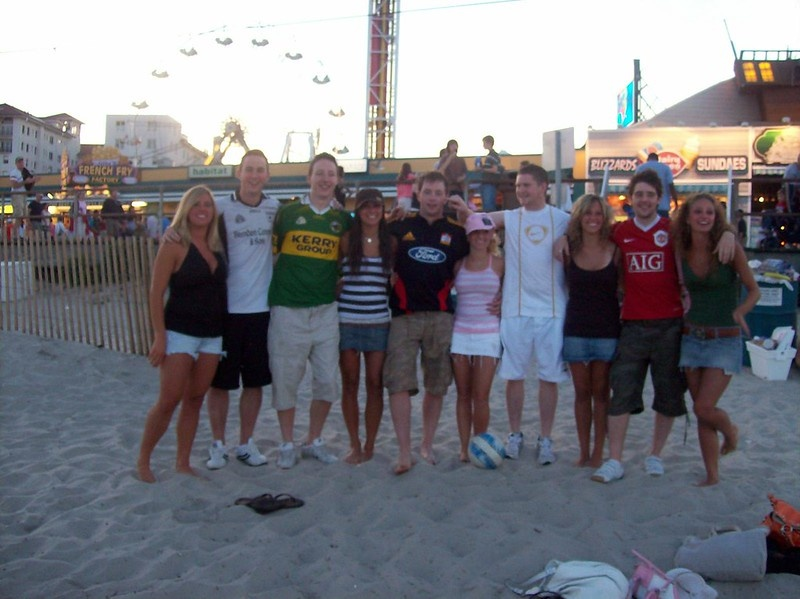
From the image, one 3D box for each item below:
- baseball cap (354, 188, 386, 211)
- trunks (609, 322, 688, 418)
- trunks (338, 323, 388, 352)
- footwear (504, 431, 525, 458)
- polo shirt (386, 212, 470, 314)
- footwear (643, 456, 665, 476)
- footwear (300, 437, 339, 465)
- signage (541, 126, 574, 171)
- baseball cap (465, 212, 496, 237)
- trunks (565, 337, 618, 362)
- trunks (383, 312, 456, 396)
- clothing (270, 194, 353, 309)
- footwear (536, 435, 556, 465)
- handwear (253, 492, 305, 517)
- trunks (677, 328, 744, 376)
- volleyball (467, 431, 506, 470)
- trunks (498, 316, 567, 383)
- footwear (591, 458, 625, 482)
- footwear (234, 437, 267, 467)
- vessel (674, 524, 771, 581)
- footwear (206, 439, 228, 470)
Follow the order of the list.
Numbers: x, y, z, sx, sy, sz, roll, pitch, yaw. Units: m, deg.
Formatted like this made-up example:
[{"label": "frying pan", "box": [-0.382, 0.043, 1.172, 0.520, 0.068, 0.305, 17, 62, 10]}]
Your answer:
[{"label": "baseball cap", "box": [-0.285, -0.936, 7.313, 0.257, 0.192, 0.184, 0, 5, 3]}, {"label": "trunks", "box": [2.250, 0.598, 7.132, 0.751, 1.183, 0.402, 1, -7, 11]}, {"label": "trunks", "box": [-0.341, 0.358, 7.372, 0.398, 0.310, 0.247, 0, -1, -3]}, {"label": "footwear", "box": [1.111, 1.400, 7.705, 0.126, 0.235, 0.268, 2, 5, 24]}, {"label": "polo shirt", "box": [0.244, -0.342, 7.415, 0.793, 0.974, 0.477, 4, -3, -10]}, {"label": "footwear", "box": [2.352, 1.510, 7.271, 0.157, 0.156, 0.213, 1, 5, 17]}, {"label": "footwear", "box": [-0.780, 1.427, 7.580, 0.437, 0.208, 0.156, 6, 10, 37]}, {"label": "signage", "box": [1.935, -1.826, 9.596, 0.360, 0.474, 0.490, 0, 5, 9]}, {"label": "baseball cap", "box": [0.751, -0.716, 7.401, 0.266, 0.198, 0.175, 0, 5, 4]}, {"label": "trunks", "box": [1.747, 0.448, 7.264, 0.386, 0.305, 0.222, 2, -2, 8]}, {"label": "trunks", "box": [0.176, 0.479, 7.400, 0.591, 0.873, 0.422, 3, -17, -3]}, {"label": "clothing", "box": [-0.836, -0.425, 7.315, 0.827, 1.071, 0.550, 8, 1, -12]}, {"label": "footwear", "box": [1.406, 1.427, 7.566, 0.163, 0.232, 0.256, 0, 5, 9]}, {"label": "handwear", "box": [-1.035, 1.708, 6.613, 0.310, 0.080, 0.170, 3, 5, -13]}, {"label": "trunks", "box": [2.731, 0.470, 6.914, 0.541, 0.423, 0.330, -3, -15, 35]}, {"label": "volleyball", "box": [0.806, 1.393, 7.333, 0.329, 0.308, 0.185, 0, 5, 4]}, {"label": "trunks", "box": [1.271, 0.441, 7.663, 0.849, 0.888, 0.523, 0, -4, 6]}, {"label": "footwear", "box": [1.893, 1.521, 7.108, 0.382, 0.178, 0.207, -1, 5, -12]}, {"label": "footwear", "box": [-1.405, 1.444, 7.503, 0.304, 0.214, 0.184, 9, 10, 26]}, {"label": "vessel", "box": [2.458, 1.897, 5.924, 0.460, 0.187, 0.413, -4, 7, 14]}, {"label": "footwear", "box": [-1.713, 1.425, 7.354, 0.196, 0.247, 0.216, -2, 5, -15]}]
